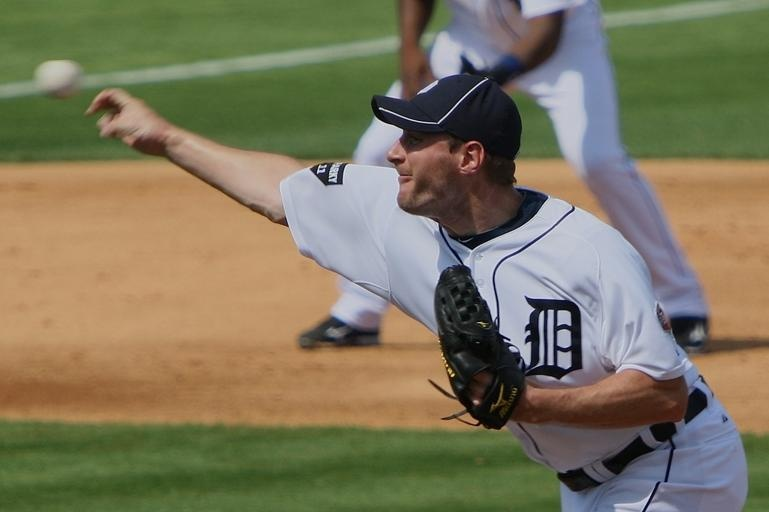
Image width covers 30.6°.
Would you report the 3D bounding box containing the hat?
[{"bbox_3d":[0.416,-0.935,9.217,0.848,0.409,0.492,22,9,-4],"label":"hat"}]
